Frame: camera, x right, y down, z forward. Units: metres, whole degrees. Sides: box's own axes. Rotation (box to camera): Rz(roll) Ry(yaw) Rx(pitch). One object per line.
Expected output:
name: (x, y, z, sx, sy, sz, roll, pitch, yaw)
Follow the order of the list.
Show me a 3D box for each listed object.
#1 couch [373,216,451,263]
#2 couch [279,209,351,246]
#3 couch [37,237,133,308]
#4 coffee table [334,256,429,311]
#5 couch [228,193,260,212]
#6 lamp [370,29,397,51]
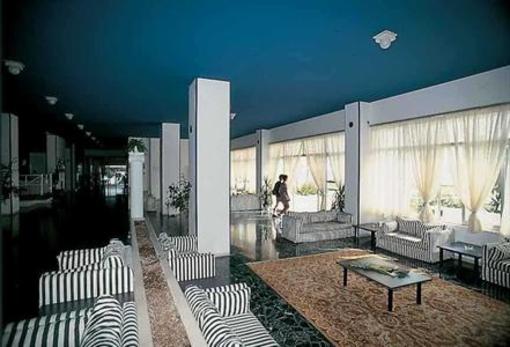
couch: (4.291, 1.813, 9.163, 0.953, 1.010, 1.685, 1, 1, -29)
couch: (1.978, 1.623, 10.406, 2.217, 0.886, 0.782, -4, 11, -20)
couch: (-2.933, 1.721, 6.122, 1.470, 0.604, 1.472, 12, 12, 40)
coffee table: (2.644, 2.313, 6.878, 1.195, 0.617, 1.695, 1, 1, -16)
couch: (-0.454, 1.367, 15.494, 1.464, 0.743, 0.779, -2, 10, -9)
lamp: (2.640, -2.718, 6.689, 0.422, 0.246, 0.611, 8, 13, 41)
